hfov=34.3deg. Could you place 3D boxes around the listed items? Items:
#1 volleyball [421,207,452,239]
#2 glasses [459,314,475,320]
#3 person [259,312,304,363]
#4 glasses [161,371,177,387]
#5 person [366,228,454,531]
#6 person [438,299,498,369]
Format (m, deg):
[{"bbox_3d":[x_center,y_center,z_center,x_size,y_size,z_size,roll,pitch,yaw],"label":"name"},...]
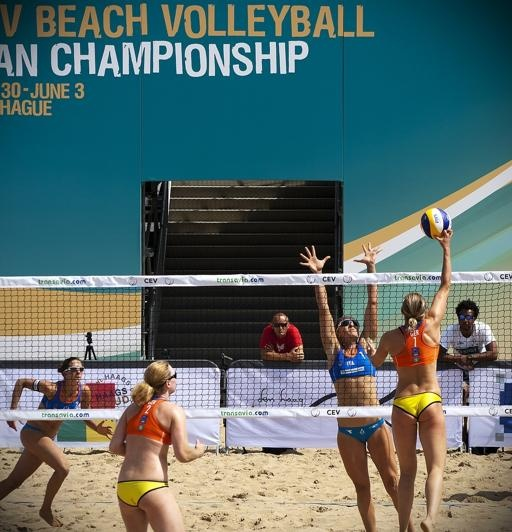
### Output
[{"bbox_3d":[1.846,-0.461,8.578,0.260,0.382,0.287,6,6,37],"label":"volleyball"},{"bbox_3d":[2.688,0.653,10.626,0.166,0.083,0.108,-3,-7,3],"label":"glasses"},{"bbox_3d":[0.344,0.951,11.106,0.548,0.673,0.894,-2,19,0],"label":"person"},{"bbox_3d":[-0.753,0.986,7.293,0.098,0.032,0.096,-37,8,-18],"label":"glasses"},{"bbox_3d":[1.519,1.105,7.827,0.810,2.718,0.566,-2,-6,2],"label":"person"},{"bbox_3d":[2.747,0.898,10.971,0.653,1.004,0.823,-1,-7,10],"label":"person"}]
